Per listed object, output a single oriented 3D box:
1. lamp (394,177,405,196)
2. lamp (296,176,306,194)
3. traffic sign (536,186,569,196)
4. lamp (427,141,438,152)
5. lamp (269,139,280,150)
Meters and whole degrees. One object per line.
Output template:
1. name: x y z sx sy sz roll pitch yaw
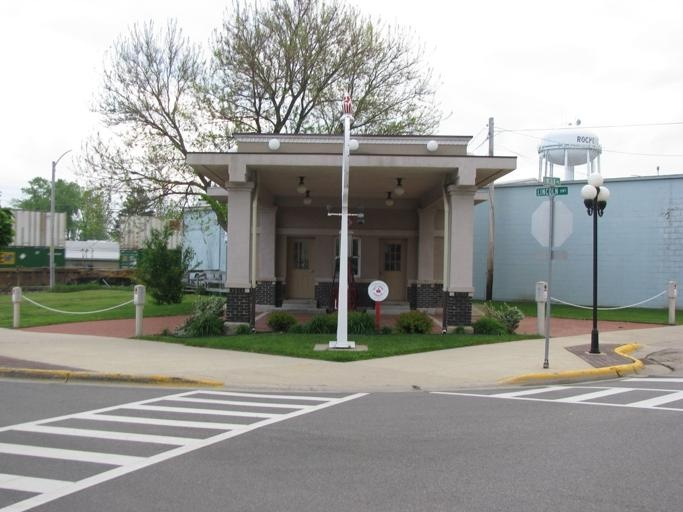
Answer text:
1. lamp: 1.752 -2.235 21.726 0.373 0.636 0.414 1 -5 4
2. lamp: -1.338 -2.359 22.191 0.319 0.530 0.352 1 -4 -5
3. traffic sign: 4.491 -1.404 14.761 0.454 0.191 0.452 1 1 -35
4. lamp: 2.691 -3.317 20.154 0.299 0.380 0.542 0 -3 7
5. lamp: -2.025 -3.329 20.108 0.322 0.342 0.681 1 -3 -7
